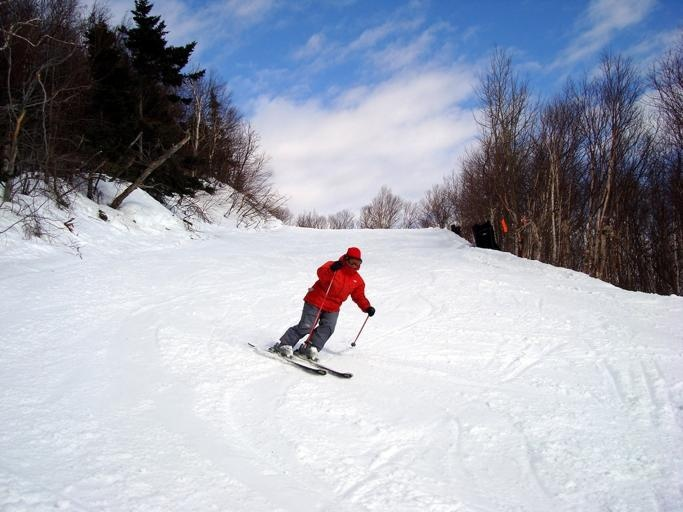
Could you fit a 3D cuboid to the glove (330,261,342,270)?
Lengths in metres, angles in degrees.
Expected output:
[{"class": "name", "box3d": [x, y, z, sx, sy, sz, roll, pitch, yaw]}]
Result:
[{"class": "glove", "box3d": [-0.081, 0.154, 9.151, 0.185, 0.145, 0.231, 10, 16, 34]}]

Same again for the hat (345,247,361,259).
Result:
[{"class": "hat", "box3d": [0.200, -0.058, 9.222, 0.176, 0.183, 0.245, 8, -14, -39]}]
